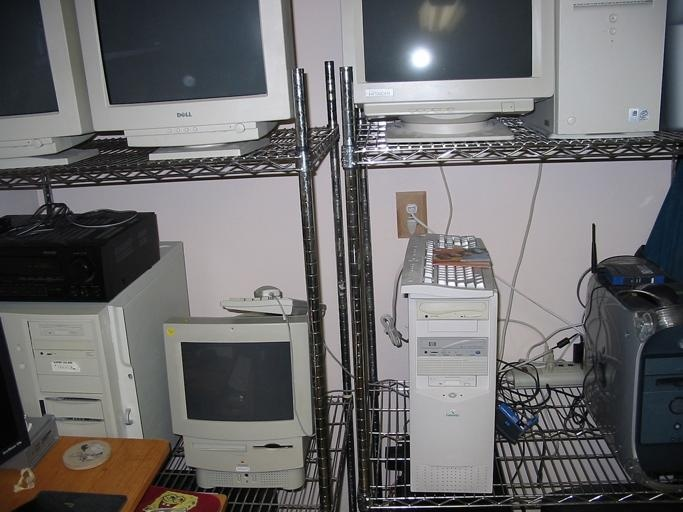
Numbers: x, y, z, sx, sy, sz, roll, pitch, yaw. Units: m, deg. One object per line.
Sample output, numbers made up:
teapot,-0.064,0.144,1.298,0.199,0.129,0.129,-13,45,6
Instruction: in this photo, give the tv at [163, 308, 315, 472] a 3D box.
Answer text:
tv,-0.303,0.369,1.916,0.425,0.459,0.298,2,20,2

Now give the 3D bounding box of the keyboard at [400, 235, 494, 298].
keyboard,0.327,0.019,1.809,0.273,0.060,0.505,-3,18,9

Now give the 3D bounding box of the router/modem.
router/modem,0.884,-0.043,1.909,0.243,0.196,0.262,-1,20,8
